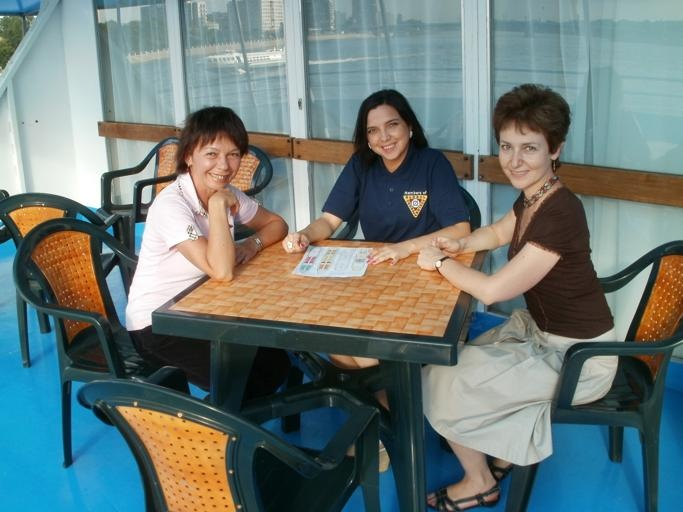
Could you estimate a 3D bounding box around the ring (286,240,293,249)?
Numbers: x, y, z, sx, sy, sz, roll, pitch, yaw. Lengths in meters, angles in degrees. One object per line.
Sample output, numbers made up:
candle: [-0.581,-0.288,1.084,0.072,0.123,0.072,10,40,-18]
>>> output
ring: [-0.220,-0.048,2.206,0.025,0.027,0.006,5,-7,9]

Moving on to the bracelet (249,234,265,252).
bracelet: [-0.362,-0.062,2.253,0.024,0.064,0.054,-27,36,-26]

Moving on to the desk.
desk: [-0.032,0.229,1.736,0.884,0.584,0.894,7,21,21]

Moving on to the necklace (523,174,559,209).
necklace: [0.730,-0.238,1.914,0.029,0.123,0.101,34,12,6]

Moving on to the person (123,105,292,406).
person: [-0.563,-0.060,2.337,0.692,1.135,0.719,-10,23,-42]

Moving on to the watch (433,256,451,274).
watch: [0.360,0.029,1.887,0.052,0.021,0.049,-44,29,-3]

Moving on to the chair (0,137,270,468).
chair: [-0.882,0.064,2.694,1.025,1.471,0.887,9,28,17]
